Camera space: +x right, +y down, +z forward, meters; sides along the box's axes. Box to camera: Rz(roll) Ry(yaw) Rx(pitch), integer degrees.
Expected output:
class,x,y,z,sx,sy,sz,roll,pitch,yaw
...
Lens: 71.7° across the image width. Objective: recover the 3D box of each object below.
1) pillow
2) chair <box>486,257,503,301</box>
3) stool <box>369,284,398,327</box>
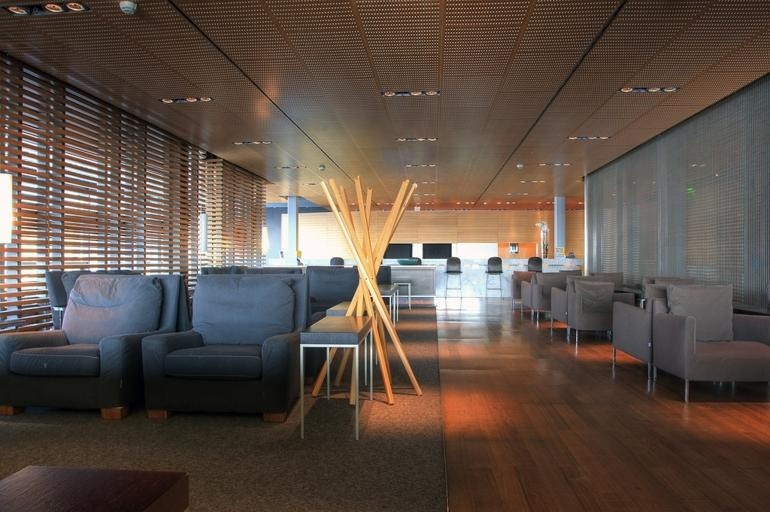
class,x,y,z,sx,sy,sz,roll,pitch,yaw
pillow,3.473,0.642,5.896,0.706,0.598,0.240,2,-19,6
chair,3.017,0.566,14.899,0.509,1.180,0.875,3,11,11
stool,-0.033,0.633,6.962,0.327,0.404,0.994,-1,-2,5
